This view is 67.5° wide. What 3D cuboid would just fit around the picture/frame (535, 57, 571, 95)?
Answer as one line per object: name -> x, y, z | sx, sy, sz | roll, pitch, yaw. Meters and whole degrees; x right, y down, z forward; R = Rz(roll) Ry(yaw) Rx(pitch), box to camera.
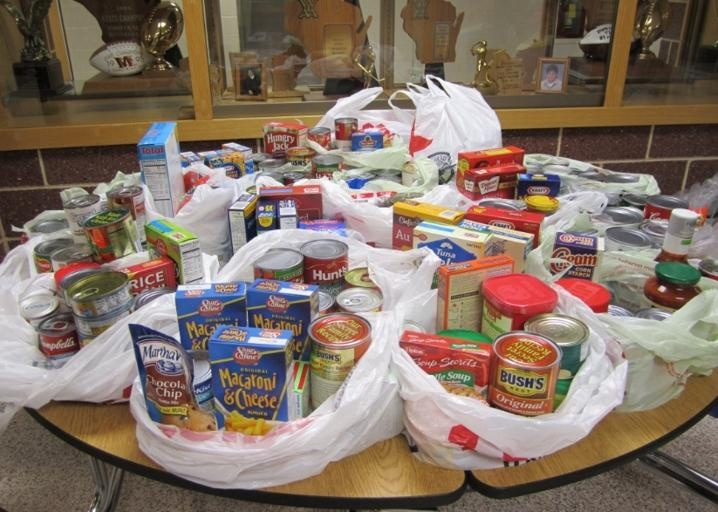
picture/frame -> 1.069, -1.005, 2.959 | 0.260, 0.240, 0.026 | 0, 29, 1
